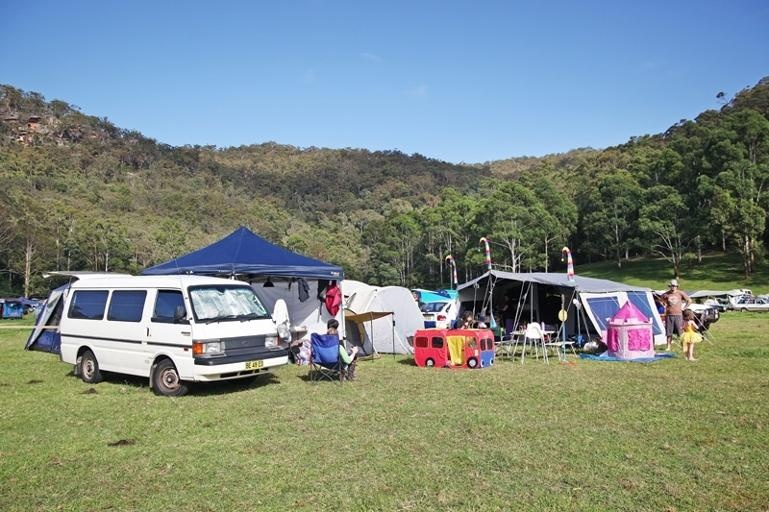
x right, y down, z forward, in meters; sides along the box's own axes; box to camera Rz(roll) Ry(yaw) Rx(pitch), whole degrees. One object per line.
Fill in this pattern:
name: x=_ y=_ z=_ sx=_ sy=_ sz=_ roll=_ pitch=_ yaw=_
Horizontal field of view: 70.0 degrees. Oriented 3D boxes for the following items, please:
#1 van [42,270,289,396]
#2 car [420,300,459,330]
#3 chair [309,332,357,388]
van: x=-4.907 y=1.769 z=13.039 sx=4.682 sy=2.188 sz=2.547 roll=-4 pitch=-7 yaw=30
car: x=2.521 y=2.552 z=25.260 sx=1.055 sy=0.773 sz=1.772 roll=-1 pitch=0 yaw=16
chair: x=-1.206 y=2.458 z=12.878 sx=0.890 sy=1.211 sz=0.966 roll=4 pitch=-2 yaw=-37
